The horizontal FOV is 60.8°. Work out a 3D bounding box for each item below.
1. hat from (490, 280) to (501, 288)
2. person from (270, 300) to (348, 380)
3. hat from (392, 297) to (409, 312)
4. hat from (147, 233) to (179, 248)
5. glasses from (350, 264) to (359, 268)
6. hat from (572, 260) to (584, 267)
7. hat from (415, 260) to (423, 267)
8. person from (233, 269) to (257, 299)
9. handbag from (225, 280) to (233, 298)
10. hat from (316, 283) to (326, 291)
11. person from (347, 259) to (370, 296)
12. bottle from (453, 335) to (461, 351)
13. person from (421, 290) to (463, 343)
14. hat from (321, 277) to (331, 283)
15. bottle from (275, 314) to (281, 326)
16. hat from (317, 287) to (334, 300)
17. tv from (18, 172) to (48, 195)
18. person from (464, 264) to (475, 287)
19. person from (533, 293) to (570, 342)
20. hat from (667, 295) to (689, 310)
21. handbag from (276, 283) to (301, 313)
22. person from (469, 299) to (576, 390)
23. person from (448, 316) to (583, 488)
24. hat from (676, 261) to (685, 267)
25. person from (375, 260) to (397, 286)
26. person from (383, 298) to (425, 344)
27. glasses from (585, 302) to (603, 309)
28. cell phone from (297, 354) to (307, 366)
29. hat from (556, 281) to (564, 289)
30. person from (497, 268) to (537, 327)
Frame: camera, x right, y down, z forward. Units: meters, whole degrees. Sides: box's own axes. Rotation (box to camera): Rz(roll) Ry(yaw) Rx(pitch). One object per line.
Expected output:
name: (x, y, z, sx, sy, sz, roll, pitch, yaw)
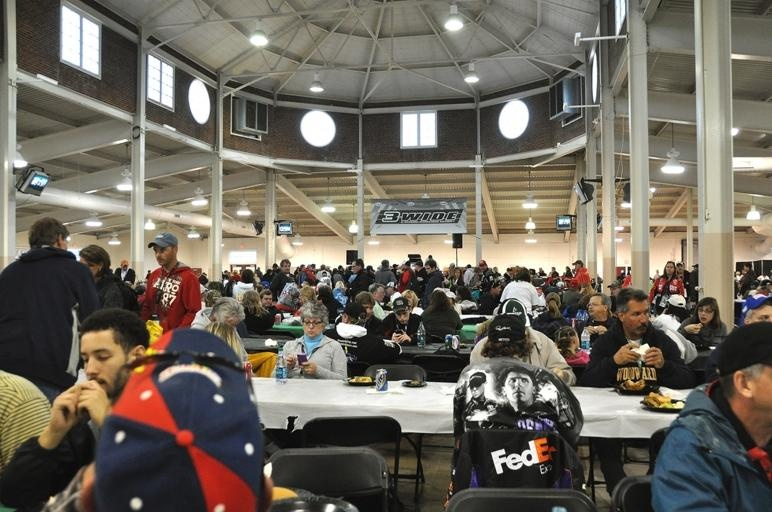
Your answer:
hat: (2.163, 0.564, 12.906, 0.110, 0.147, 0.144, 6, 5, -38)
person: (-0.924, 0.853, 6.801, 0.890, 0.954, 0.713, -1, -6, 14)
hat: (0.190, 0.641, 8.548, 0.196, 0.194, 0.209, 0, -6, -4)
hat: (-2.414, -0.162, 7.144, 0.187, 0.141, 0.276, -4, -7, 25)
glasses: (-0.789, 0.246, 16.022, 0.172, 0.079, 0.161, 2, -2, 1)
hat: (5.327, 0.197, 18.236, 0.329, 0.172, 0.231, 13, 5, 6)
hat: (0.946, 0.251, 18.758, 0.161, 0.203, 0.201, 8, 7, -13)
person: (-2.754, 0.547, 12.767, 0.311, 0.804, 0.337, 14, 14, -15)
handbag: (-3.457, 0.703, 14.451, 0.192, 0.346, 0.317, 1, -6, -15)
hat: (-1.114, 0.523, 11.192, 0.181, 0.139, 0.189, -7, 1, 10)
person: (-0.686, 0.533, 15.713, 0.475, 1.326, 0.570, 6, -12, -11)
bottle: (0.900, 1.114, 8.400, 0.059, 0.166, 0.179, -1, 2, 7)
person: (0.838, 0.900, 9.632, 0.562, 0.497, 0.927, 3, -46, 3)
hat: (-1.367, 0.546, 14.797, 0.206, 0.163, 0.192, -13, -25, -7)
bottle: (-1.740, 1.028, 10.613, 0.103, 0.178, 0.188, 0, 1, 1)
hat: (-0.970, 0.591, 10.473, 0.189, 0.234, 0.232, 3, 13, -4)
tv: (-6.446, -1.337, 11.943, 0.210, 0.415, 0.420, 19, 30, 18)
person: (2.317, 0.598, 18.503, 0.279, 0.537, 0.983, -1, -6, 8)
person: (2.298, 0.896, 9.115, 0.544, 0.726, 0.582, 2, 0, 13)
hat: (4.374, 0.649, 9.871, 0.265, 0.181, 0.359, 14, 14, 39)
handbag: (-1.964, 0.855, 13.147, 0.258, 0.446, 0.344, 22, -9, 19)
person: (0.993, 0.652, 5.309, 0.619, 0.562, 1.153, -2, -33, 16)
person: (1.012, 1.031, 4.791, 1.130, 0.820, 0.724, 9, -19, -30)
hat: (7.922, 0.210, 17.682, 0.183, 0.140, 0.249, 0, 18, 13)
person: (-0.003, 0.468, 18.032, 0.537, 1.104, 0.366, 3, 13, 13)
person: (0.208, 0.876, 8.694, 0.596, 0.652, 0.732, -4, 6, -14)
glasses: (2.571, 0.608, 8.099, 0.159, 0.045, 0.150, 8, -4, -7)
cell phone: (-0.804, 0.995, 6.310, 0.095, 0.105, 0.096, -1, 4, 11)
hat: (4.280, 0.719, 16.175, 0.189, 0.161, 0.254, -3, -10, 15)
person: (2.267, 0.661, 11.179, 0.715, 0.679, 1.333, 0, -1, 12)
